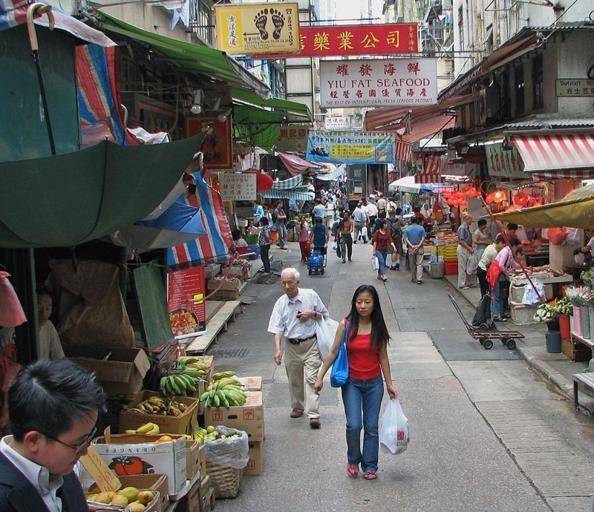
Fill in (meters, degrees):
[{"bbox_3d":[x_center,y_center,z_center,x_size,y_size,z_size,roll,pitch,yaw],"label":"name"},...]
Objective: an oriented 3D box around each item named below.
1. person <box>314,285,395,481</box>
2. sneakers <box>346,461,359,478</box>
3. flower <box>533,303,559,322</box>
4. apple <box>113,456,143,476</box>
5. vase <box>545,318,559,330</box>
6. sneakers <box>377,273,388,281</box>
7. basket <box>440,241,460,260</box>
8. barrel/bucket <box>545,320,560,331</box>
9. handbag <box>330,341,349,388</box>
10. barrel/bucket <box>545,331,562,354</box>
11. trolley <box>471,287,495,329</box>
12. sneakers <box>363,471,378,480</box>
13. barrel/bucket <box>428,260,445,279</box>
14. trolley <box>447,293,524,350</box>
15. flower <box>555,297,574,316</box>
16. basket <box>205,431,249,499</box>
[{"bbox_3d":[0.658,1.335,6.134,0.716,2.027,0.427,-1,5,2],"label":"person"},{"bbox_3d":[0.581,2.266,6.159,0.087,0.170,0.156,0,-8,-5],"label":"sneakers"},{"bbox_3d":[4.525,1.126,10.695,0.396,0.329,0.412,14,20,37],"label":"flower"},{"bbox_3d":[-1.406,1.693,4.830,0.164,0.122,0.166,5,-1,30],"label":"apple"},{"bbox_3d":[4.580,1.227,10.494,0.191,0.162,0.200,3,4,40],"label":"vase"},{"bbox_3d":[2.830,0.715,19.584,0.142,0.215,0.454,-2,0,-3],"label":"sneakers"},{"bbox_3d":[5.216,-0.265,19.975,0.619,0.709,0.500,3,12,16],"label":"basket"},{"bbox_3d":[4.604,1.234,10.490,0.188,0.157,0.188,-3,7,0],"label":"barrel/bucket"},{"bbox_3d":[0.438,1.148,6.061,0.182,0.488,0.237,-1,5,5],"label":"handbag"},{"bbox_3d":[4.588,1.537,10.473,0.316,0.423,0.345,-1,-3,0],"label":"barrel/bucket"},{"bbox_3d":[3.810,1.138,11.897,0.383,0.803,0.329,5,-6,44],"label":"trolley"},{"bbox_3d":[0.767,2.292,6.144,0.158,0.090,0.125,-2,5,2],"label":"sneakers"},{"bbox_3d":[4.788,0.502,20.201,0.482,0.551,0.521,0,-2,0],"label":"barrel/bucket"},{"bbox_3d":[3.748,1.305,11.570,1.300,1.087,0.742,-4,0,18],"label":"trolley"},{"bbox_3d":[4.751,0.874,10.340,0.295,0.303,0.303,-12,6,-26],"label":"flower"},{"bbox_3d":[-0.800,2.161,6.056,0.554,0.572,0.759,-3,-9,-11],"label":"basket"}]
